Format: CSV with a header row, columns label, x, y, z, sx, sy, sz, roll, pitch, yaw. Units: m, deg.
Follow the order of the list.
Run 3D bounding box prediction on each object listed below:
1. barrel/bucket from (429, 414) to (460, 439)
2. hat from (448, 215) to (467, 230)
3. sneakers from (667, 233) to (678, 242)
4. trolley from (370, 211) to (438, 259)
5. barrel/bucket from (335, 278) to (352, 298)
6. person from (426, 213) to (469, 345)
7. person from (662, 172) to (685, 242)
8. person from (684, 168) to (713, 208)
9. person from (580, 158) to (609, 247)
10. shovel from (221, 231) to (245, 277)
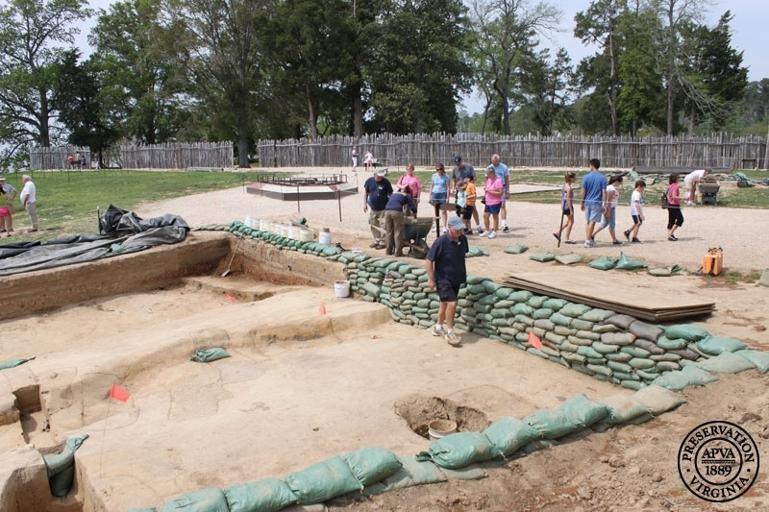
label,x,y,z,sx,sy,sz,roll,pitch,yaw
barrel/bucket,0.955,2.827,10.197,0.468,0.215,0.478,-1,9,0
hat,1.366,-0.626,12.098,0.371,0.205,0.278,9,21,37
sneakers,7.278,-0.475,15.736,0.335,0.144,0.109,-8,13,-29
trolley,0.516,-0.416,15.869,0.881,0.827,1.750,17,-7,-38
barrel/bucket,-1.003,0.786,14.825,0.330,0.368,0.436,6,12,39
person,1.251,0.476,12.494,0.765,2.573,0.609,0,10,7
person,7.496,-1.300,16.151,0.385,1.630,1.533,3,10,24
person,11.042,-2.459,22.213,0.556,1.162,1.372,4,10,30
person,5.212,-1.344,15.556,0.578,2.129,1.266,1,10,17
shovel,-4.596,-0.055,18.496,0.606,1.172,1.006,2,10,21
